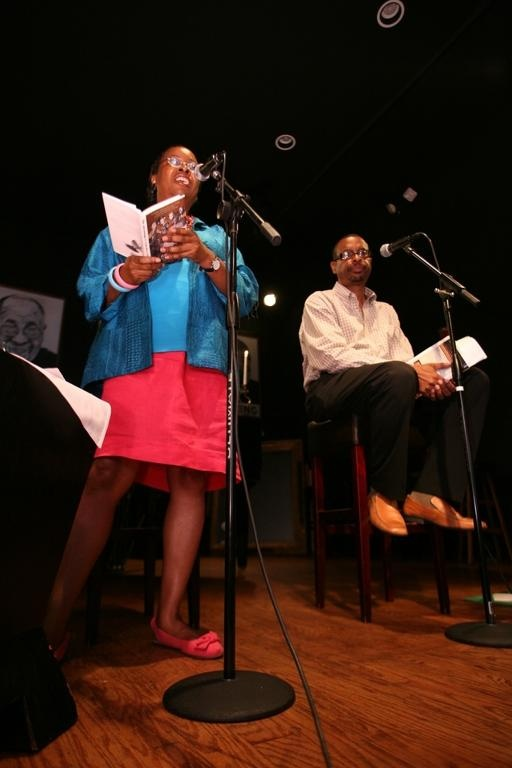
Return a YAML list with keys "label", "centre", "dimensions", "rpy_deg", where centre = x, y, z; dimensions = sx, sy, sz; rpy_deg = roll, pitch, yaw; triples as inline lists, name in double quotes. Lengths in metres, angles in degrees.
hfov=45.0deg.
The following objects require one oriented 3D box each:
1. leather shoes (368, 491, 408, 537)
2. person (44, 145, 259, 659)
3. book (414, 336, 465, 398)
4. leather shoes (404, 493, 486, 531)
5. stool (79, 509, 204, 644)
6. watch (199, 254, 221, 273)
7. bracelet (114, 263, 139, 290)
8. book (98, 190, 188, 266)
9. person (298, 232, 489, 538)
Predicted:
- label: "leather shoes"
  centre: [0.421, 0.418, 1.977]
  dimensions: [0.069, 0.073, 0.184]
  rpy_deg: [3, 2, -14]
- label: "person"
  centre: [-0.236, -0.009, 1.585]
  dimensions: [0.480, 1.333, 0.463]
  rpy_deg: [0, -4, -2]
- label: "book"
  centre: [0.601, -0.052, 2.022]
  dimensions: [0.196, 0.186, 0.052]
  rpy_deg: [-18, -40, 18]
- label: "leather shoes"
  centre: [0.585, 0.408, 2.061]
  dimensions: [0.316, 0.123, 0.105]
  rpy_deg: [3, -5, 30]
- label: "stool"
  centre: [-0.302, 0.571, 1.976]
  dimensions: [0.459, 0.427, 0.432]
  rpy_deg: [2, -30, -6]
- label: "watch"
  centre: [-0.114, -0.297, 1.609]
  dimensions: [0.044, 0.045, 0.044]
  rpy_deg: [27, -44, -23]
- label: "bracelet"
  centre: [-0.318, -0.260, 1.557]
  dimensions: [0.054, 0.053, 0.135]
  rpy_deg: [-1, -4, 6]
- label: "book"
  centre: [-0.281, -0.390, 1.442]
  dimensions: [0.170, 0.063, 0.156]
  rpy_deg: [-2, -33, -24]
- label: "person"
  centre: [0.499, -0.085, 2.203]
  dimensions: [0.514, 1.156, 0.841]
  rpy_deg: [1, -4, -16]
